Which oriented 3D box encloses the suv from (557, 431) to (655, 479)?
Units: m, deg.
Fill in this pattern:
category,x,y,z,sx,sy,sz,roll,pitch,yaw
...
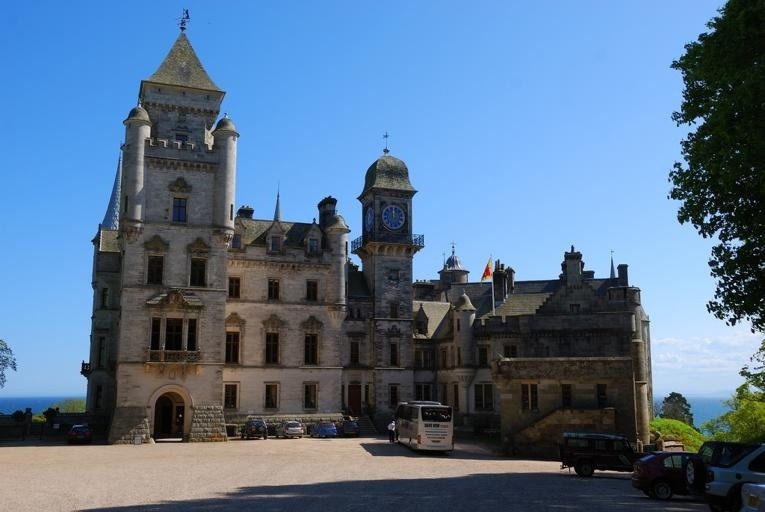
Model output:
category,x,y,z,sx,sy,sz,roll,pitch,yaw
suv,13.398,12.396,50.904,6.066,2.351,2.431,-1,-7,8
